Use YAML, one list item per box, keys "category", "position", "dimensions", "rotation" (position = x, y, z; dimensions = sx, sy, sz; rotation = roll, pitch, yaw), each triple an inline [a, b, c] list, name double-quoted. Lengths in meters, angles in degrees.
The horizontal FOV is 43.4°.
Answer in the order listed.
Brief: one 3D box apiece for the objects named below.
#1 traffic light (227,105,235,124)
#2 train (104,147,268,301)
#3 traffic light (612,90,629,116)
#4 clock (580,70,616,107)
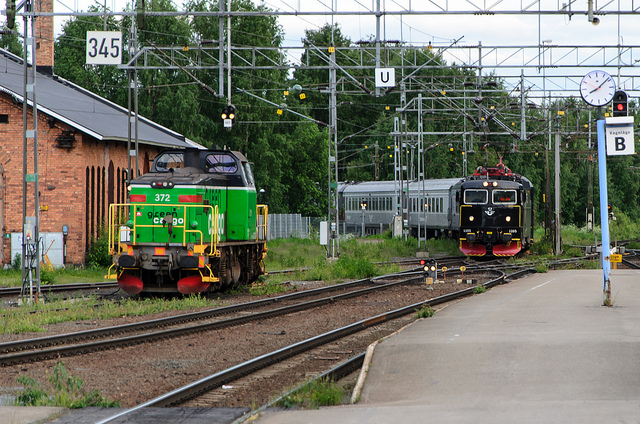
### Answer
- category: "traffic light"
  position: [-3.629, -3.999, 32.399]
  dimensions: [0.245, 0.576, 0.626]
  rotation: [-2, 13, -14]
- category: "train"
  position: [-4.670, 0.652, 28.903]
  dimensions: [5.903, 5.594, 2.913]
  rotation: [-5, 14, -27]
- category: "traffic light"
  position: [9.129, -3.401, 24.477]
  dimensions: [0.519, 0.220, 1.257]
  rotation: [-16, -7, 21]
- category: "clock"
  position: [8.368, -3.701, 24.192]
  dimensions: [1.038, 1.081, 0.530]
  rotation: [4, 12, 14]
